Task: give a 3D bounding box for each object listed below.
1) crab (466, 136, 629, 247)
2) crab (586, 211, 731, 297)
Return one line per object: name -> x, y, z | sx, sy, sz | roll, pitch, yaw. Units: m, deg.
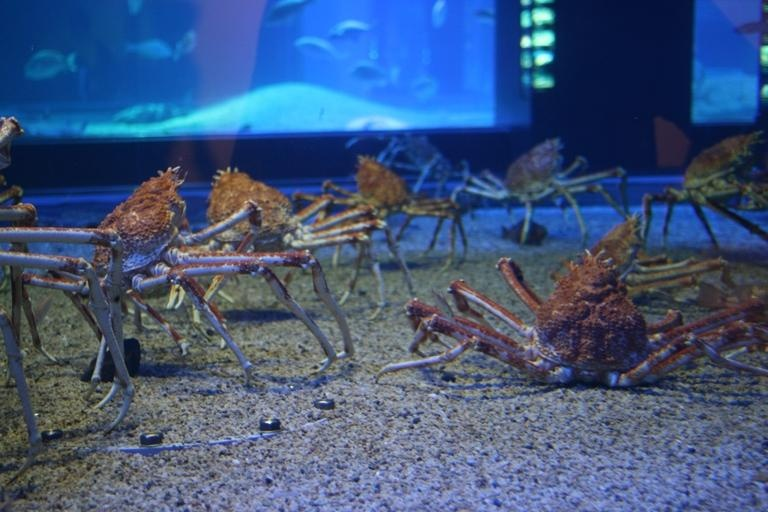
crab -> 1.248, -0.584, 6.293 | 1.248, 0.726, 0.621 | -7, 13, 5
crab -> 1.917, 0.056, 5.879 | 0.754, 0.228, 0.734 | 3, 12, 5
